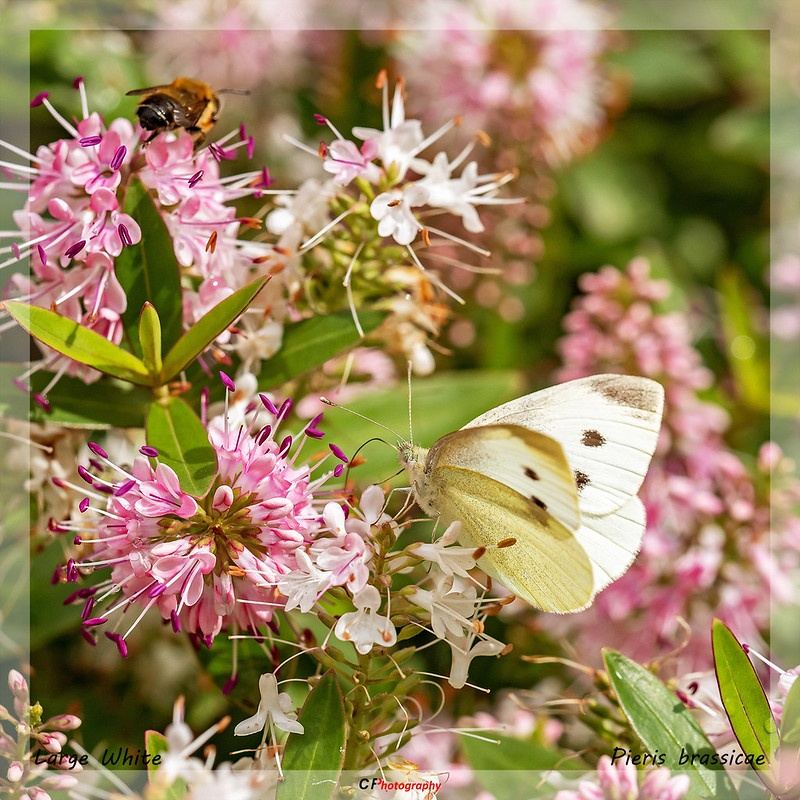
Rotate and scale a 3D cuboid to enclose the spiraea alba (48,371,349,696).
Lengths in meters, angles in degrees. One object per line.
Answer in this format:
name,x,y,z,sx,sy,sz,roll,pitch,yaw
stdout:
spiraea alba,-0.485,0.412,2.082,0.608,0.953,0.498,6,54,1
